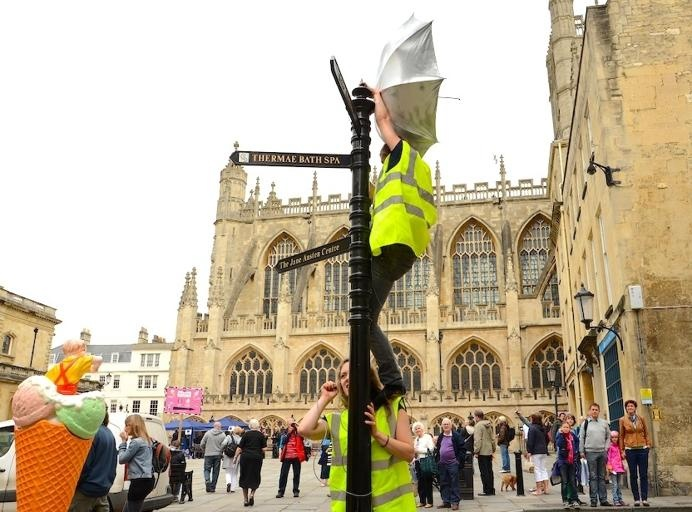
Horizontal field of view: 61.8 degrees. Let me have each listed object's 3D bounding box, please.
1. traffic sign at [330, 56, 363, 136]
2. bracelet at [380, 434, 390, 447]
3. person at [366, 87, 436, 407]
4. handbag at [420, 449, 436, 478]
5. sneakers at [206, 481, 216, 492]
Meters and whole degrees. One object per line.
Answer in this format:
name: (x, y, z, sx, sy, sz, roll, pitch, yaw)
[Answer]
traffic sign: (-0.012, -1.402, 4.873, 0.256, 0.696, 0.508, 0, -17, 4)
bracelet: (0.293, 1.401, 4.387, 0.057, 0.073, 0.027, -18, -55, 24)
person: (0.461, -0.180, 4.749, 0.535, 2.697, 0.812, 0, -17, 2)
handbag: (1.853, 4.690, 13.105, 0.363, 0.517, 0.262, -1, -17, 7)
sneakers: (-3.865, 6.590, 16.434, 0.144, 0.184, 0.429, 2, -34, -7)
